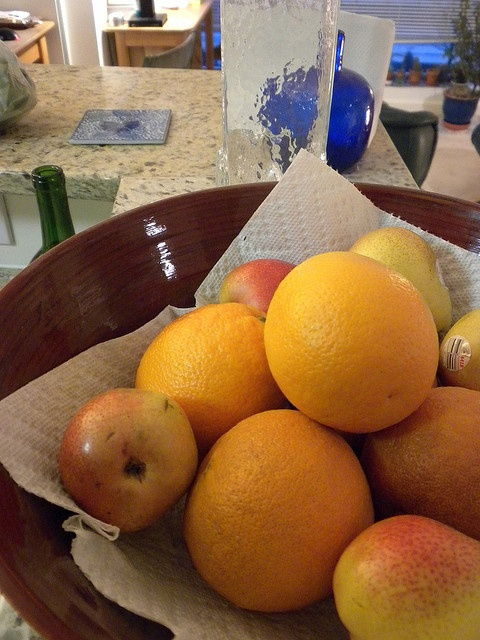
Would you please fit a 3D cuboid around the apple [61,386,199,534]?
[{"bbox_3d":[-0.055,0.068,0.258,0.064,0.052,0.050,-18,40,-25],"label":"apple"}]

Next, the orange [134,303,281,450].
[{"bbox_3d":[-0.015,0.029,0.342,0.092,0.079,0.077,-41,86,-25],"label":"orange"}]

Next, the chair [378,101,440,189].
[{"bbox_3d":[0.516,-0.553,1.636,0.180,0.179,0.176,12,37,15],"label":"chair"}]

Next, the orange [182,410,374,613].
[{"bbox_3d":[0.018,0.087,0.292,0.088,0.085,0.091,30,71,4],"label":"orange"}]

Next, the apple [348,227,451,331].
[{"bbox_3d":[0.097,-0.025,0.313,0.058,0.044,0.043,44,41,0],"label":"apple"}]

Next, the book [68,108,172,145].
[{"bbox_3d":[-0.230,-0.393,1.045,0.182,0.018,0.208,-1,36,-3],"label":"book"}]

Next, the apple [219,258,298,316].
[{"bbox_3d":[0.014,-0.013,0.418,0.055,0.044,0.046,-18,22,-6],"label":"apple"}]

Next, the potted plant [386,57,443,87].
[{"bbox_3d":[1.552,-2.233,4.655,0.451,0.207,0.234,12,37,14],"label":"potted plant"}]
